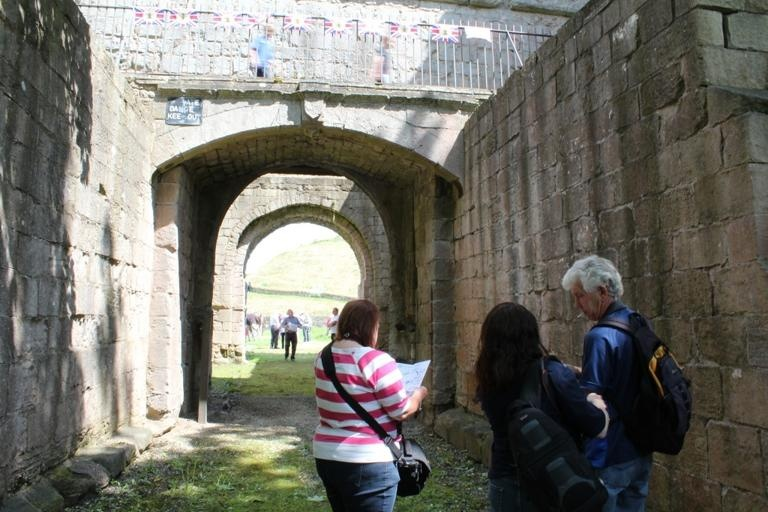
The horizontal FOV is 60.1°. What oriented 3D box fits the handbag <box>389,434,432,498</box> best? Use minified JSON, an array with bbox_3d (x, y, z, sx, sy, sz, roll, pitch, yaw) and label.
[{"bbox_3d":[0.212,1.487,4.759,0.261,0.378,0.375,2,-1,7],"label":"handbag"}]
